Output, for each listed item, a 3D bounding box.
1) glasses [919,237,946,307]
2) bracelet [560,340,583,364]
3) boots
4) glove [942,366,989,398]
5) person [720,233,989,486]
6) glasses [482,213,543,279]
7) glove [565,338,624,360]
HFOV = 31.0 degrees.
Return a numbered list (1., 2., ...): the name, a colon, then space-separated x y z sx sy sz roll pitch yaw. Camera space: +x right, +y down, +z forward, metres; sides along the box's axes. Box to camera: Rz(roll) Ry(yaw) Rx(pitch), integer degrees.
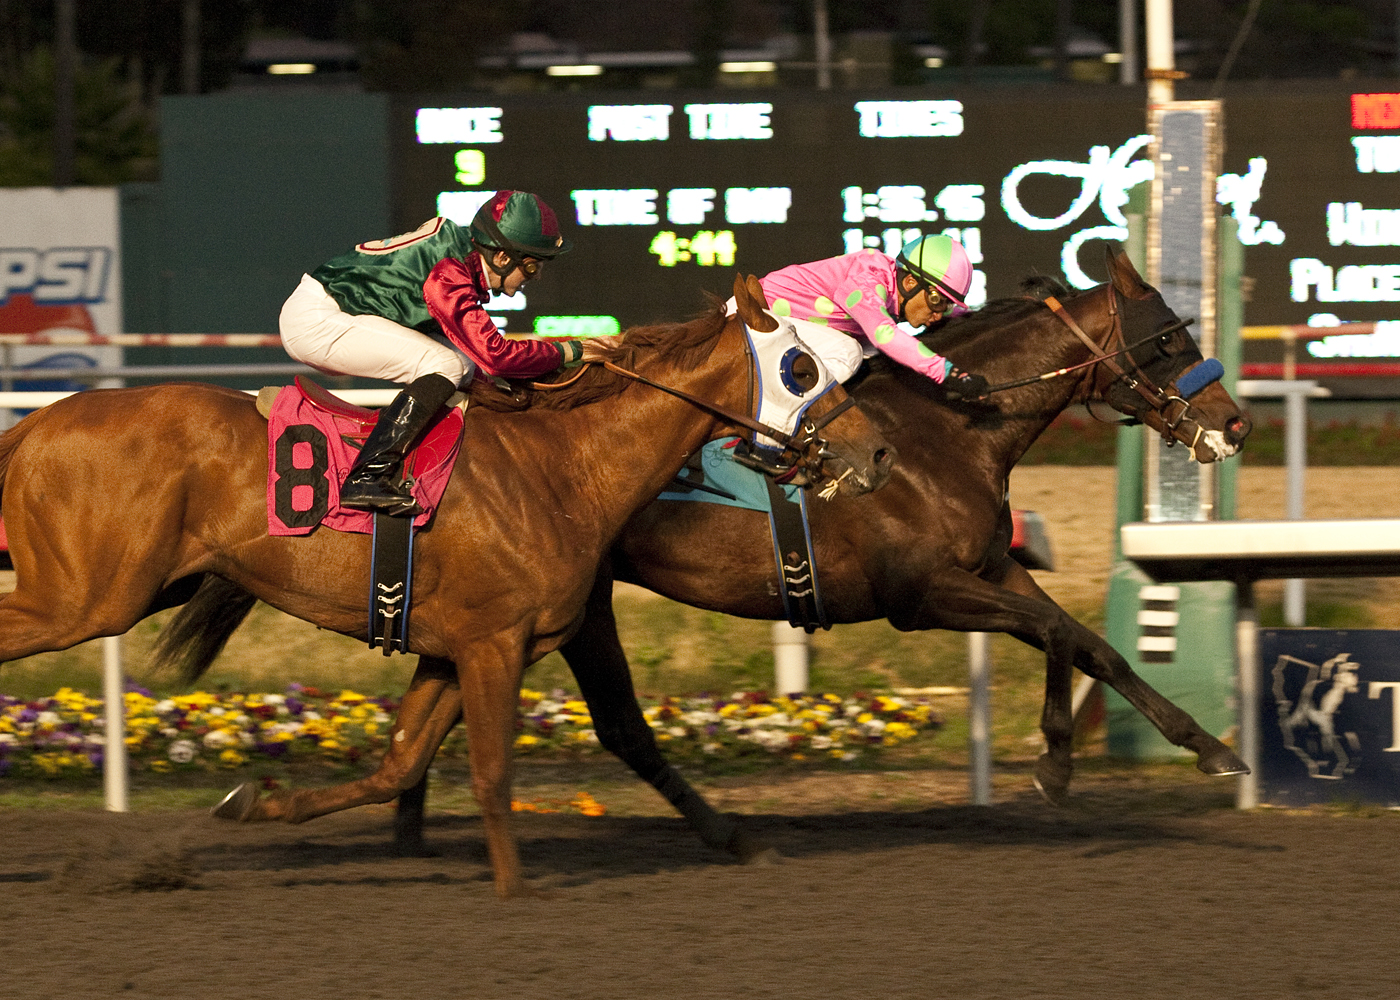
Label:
1. glasses: 0.849 -0.799 9.249 0.069 0.183 0.167 -4 -2 22
2. bracelet: -0.428 -0.491 8.583 0.085 0.054 0.072 2 3 8
3. boots: -0.968 -0.172 8.337 0.379 0.442 0.159 -6 10 -37
4. glove: 0.956 -0.408 9.107 0.160 0.095 0.057 20 -16 -6
5. person: 0.590 -0.692 9.288 0.994 0.426 0.494 7 33 -3
6. glasses: -0.655 -0.799 8.557 0.177 0.081 0.123 24 17 7
7. glove: -0.364 -0.502 8.588 0.168 0.066 0.055 1 -13 -5
